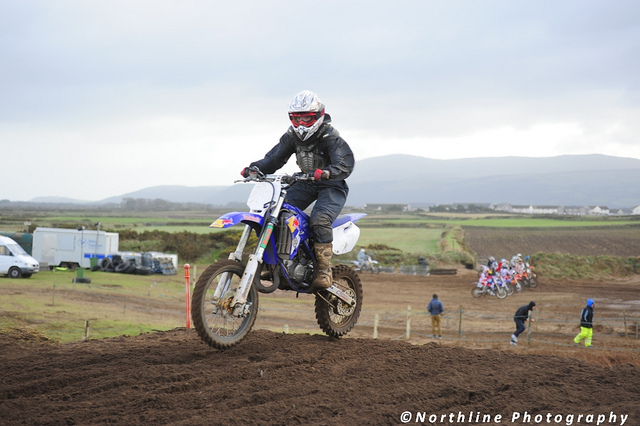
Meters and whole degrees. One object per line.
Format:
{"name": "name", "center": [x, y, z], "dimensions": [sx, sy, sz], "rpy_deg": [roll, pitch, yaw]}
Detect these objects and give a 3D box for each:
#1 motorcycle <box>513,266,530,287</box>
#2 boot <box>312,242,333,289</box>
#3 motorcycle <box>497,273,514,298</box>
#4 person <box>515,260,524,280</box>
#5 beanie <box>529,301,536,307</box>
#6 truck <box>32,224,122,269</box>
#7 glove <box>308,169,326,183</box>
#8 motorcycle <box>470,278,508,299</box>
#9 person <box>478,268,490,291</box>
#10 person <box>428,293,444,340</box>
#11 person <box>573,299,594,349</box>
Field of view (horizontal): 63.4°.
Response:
{"name": "motorcycle", "center": [11.351, 3.585, 28.856], "dimensions": [0.908, 1.037, 1.738], "rpy_deg": [-7, -5, 44]}
{"name": "boot", "center": [0.093, 0.916, 9.061], "dimensions": [0.283, 0.797, 0.500], "rpy_deg": [0, -4, 42]}
{"name": "motorcycle", "center": [9.880, 3.815, 27.220], "dimensions": [1.126, 1.132, 0.454], "rpy_deg": [5, -4, -39]}
{"name": "person", "center": [11.160, 3.153, 28.729], "dimensions": [0.336, 1.086, 1.696], "rpy_deg": [2, -3, 27]}
{"name": "beanie", "center": [6.986, 2.975, 16.897], "dimensions": [0.243, 0.239, 0.192], "rpy_deg": [3, -8, -4]}
{"name": "truck", "center": [-15.561, 1.925, 32.998], "dimensions": [4.545, 2.263, 2.683], "rpy_deg": [7, 9, -5]}
{"name": "glove", "center": [-0.094, -0.653, 8.841], "dimensions": [0.265, 0.178, 0.312], "rpy_deg": [5, -3, -37]}
{"name": "motorcycle", "center": [8.968, 4.005, 27.395], "dimensions": [1.754, 1.028, 0.881], "rpy_deg": [-2, -3, 18]}
{"name": "person", "center": [8.703, 3.515, 27.098], "dimensions": [0.698, 1.016, 0.533], "rpy_deg": [8, -3, -8]}
{"name": "person", "center": [4.280, 3.748, 18.906], "dimensions": [0.599, 1.515, 1.039], "rpy_deg": [3, -3, 13]}
{"name": "person", "center": [8.520, 3.548, 16.588], "dimensions": [0.475, 1.567, 0.830], "rpy_deg": [2, -3, 27]}
